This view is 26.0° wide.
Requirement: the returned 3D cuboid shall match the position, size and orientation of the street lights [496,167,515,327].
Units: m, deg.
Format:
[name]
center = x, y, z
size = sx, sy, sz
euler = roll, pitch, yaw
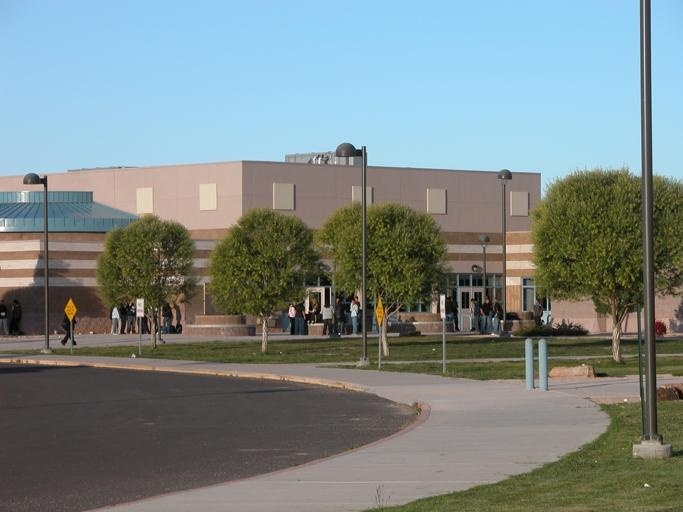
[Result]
[street lights]
center = 9.076, -0.252, 81.941
size = 0.752, 8.665, 0.973
euler = 1, 1, -5
